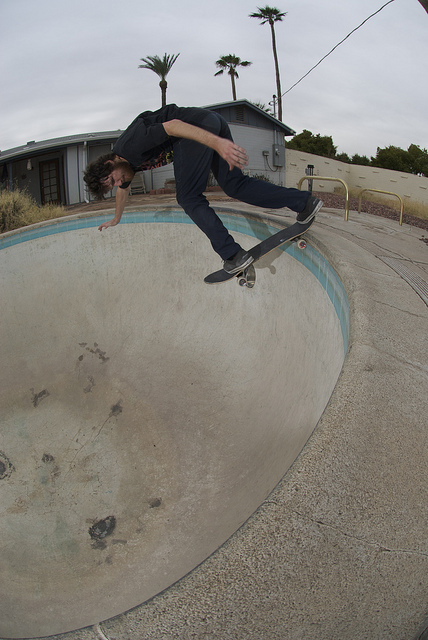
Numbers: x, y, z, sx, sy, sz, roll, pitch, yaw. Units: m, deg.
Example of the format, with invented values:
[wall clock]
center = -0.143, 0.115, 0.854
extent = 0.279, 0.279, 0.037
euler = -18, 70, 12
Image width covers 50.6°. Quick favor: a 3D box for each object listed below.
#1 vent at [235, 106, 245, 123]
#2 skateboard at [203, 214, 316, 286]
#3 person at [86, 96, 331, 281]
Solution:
[vent]
center = 0.903, -7.479, 16.319
extent = 0.445, 0.525, 0.042
euler = -24, 30, -37
[skateboard]
center = 0.421, -0.605, 3.846
extent = 0.902, 0.156, 0.292
euler = -41, 20, -2
[person]
center = -0.211, -0.934, 3.388
extent = 1.909, 1.366, 1.075
euler = -5, 26, 19
